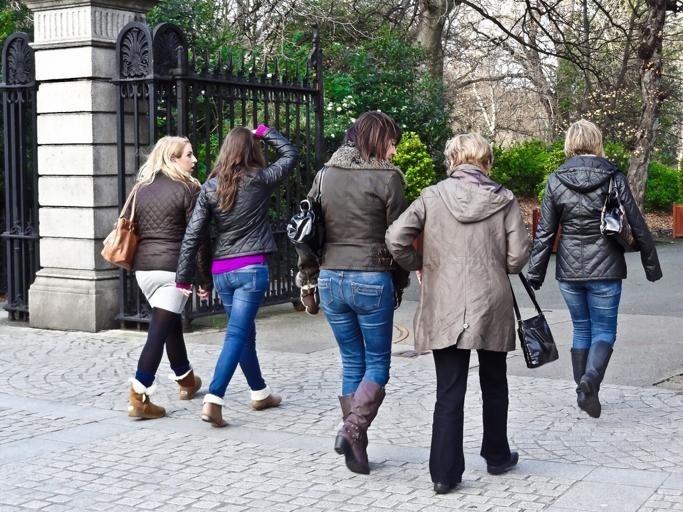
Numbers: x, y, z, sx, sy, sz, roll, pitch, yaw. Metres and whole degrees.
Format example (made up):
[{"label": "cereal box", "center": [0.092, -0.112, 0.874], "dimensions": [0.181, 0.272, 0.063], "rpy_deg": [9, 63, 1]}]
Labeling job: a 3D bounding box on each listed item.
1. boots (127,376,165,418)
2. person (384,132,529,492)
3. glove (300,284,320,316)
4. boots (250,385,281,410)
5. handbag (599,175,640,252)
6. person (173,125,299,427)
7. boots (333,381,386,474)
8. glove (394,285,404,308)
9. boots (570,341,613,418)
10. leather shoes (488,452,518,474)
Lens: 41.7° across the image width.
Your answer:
[{"label": "boots", "center": [-1.564, 1.160, 7.271], "dimensions": [0.369, 0.348, 0.199], "rpy_deg": [0, 7, -33]}, {"label": "person", "center": [0.799, 0.350, 5.904], "dimensions": [0.922, 2.294, 0.616], "rpy_deg": [-2, 8, -7]}, {"label": "glove", "center": [-0.235, 0.332, 6.653], "dimensions": [0.148, 0.214, 0.076], "rpy_deg": [-9, 8, -2]}, {"label": "boots", "center": [-0.627, 1.158, 7.477], "dimensions": [0.282, 0.197, 0.130], "rpy_deg": [-20, 25, -36]}, {"label": "handbag", "center": [2.143, -0.316, 6.966], "dimensions": [0.204, 0.486, 0.531], "rpy_deg": [-7, -11, 22]}, {"label": "person", "center": [-0.808, 0.131, 7.150], "dimensions": [0.993, 2.328, 0.482], "rpy_deg": [-7, 10, -39]}, {"label": "boots", "center": [0.114, 1.173, 6.077], "dimensions": [0.230, 0.601, 0.409], "rpy_deg": [3, 9, 23]}, {"label": "glove", "center": [0.427, 0.291, 6.364], "dimensions": [0.056, 0.152, 0.116], "rpy_deg": [10, -1, -8]}, {"label": "boots", "center": [1.992, 0.972, 7.163], "dimensions": [0.304, 0.566, 0.551], "rpy_deg": [1, 8, 14]}, {"label": "leather shoes", "center": [1.103, 1.387, 6.103], "dimensions": [0.096, 0.121, 0.290], "rpy_deg": [5, 11, 33]}]
